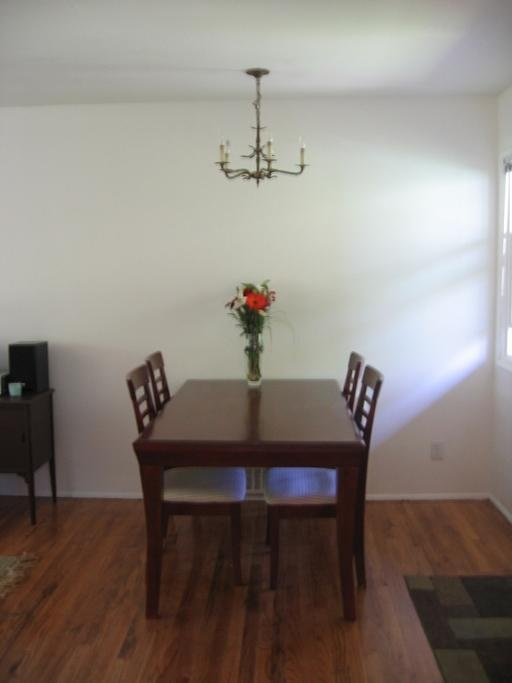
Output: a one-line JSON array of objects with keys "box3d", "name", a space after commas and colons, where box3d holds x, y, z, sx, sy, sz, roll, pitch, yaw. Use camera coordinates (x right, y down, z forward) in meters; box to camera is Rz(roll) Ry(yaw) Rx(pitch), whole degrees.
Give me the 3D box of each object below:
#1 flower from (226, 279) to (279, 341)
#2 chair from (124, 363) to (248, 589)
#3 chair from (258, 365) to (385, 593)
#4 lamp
[{"box3d": [-0.028, -0.149, 2.710, 0.184, 0.312, 0.235, -6, -4, 6], "name": "flower"}, {"box3d": [-0.285, 0.496, 2.589, 0.580, 1.540, 0.706, 0, 12, 1], "name": "chair"}, {"box3d": [0.290, 0.519, 2.552, 0.538, 1.470, 0.687, 0, 4, 1], "name": "chair"}, {"box3d": [0.045, -1.161, 2.750, 0.355, 0.669, 0.463, -2, 26, -5], "name": "lamp"}]
